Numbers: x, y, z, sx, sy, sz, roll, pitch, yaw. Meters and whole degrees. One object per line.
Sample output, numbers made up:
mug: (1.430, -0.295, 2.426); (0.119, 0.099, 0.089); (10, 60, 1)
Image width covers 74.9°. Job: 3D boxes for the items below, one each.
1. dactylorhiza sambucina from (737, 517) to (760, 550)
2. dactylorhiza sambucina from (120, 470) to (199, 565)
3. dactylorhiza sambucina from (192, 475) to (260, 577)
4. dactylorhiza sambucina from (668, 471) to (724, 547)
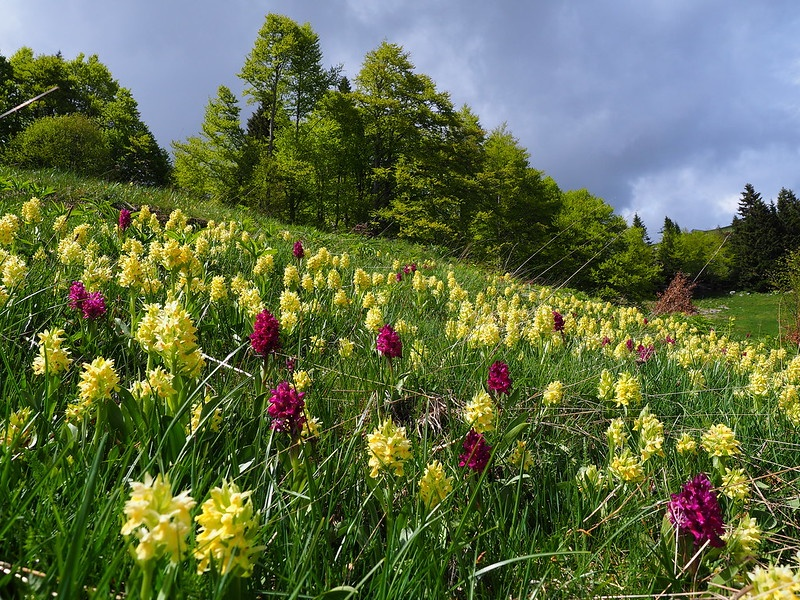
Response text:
dactylorhiza sambucina: (1.411, 0.958, 2.131); (0.080, 0.121, 0.157); (-9, -10, 36)
dactylorhiza sambucina: (-0.658, 0.590, 1.416); (0.162, 0.250, 0.246); (2, -10, -28)
dactylorhiza sambucina: (-0.513, 0.685, 1.553); (0.184, 0.302, 0.314); (1, -9, -22)
dactylorhiza sambucina: (1.102, 0.799, 1.975); (0.166, 0.276, 0.162); (-7, -9, 25)
